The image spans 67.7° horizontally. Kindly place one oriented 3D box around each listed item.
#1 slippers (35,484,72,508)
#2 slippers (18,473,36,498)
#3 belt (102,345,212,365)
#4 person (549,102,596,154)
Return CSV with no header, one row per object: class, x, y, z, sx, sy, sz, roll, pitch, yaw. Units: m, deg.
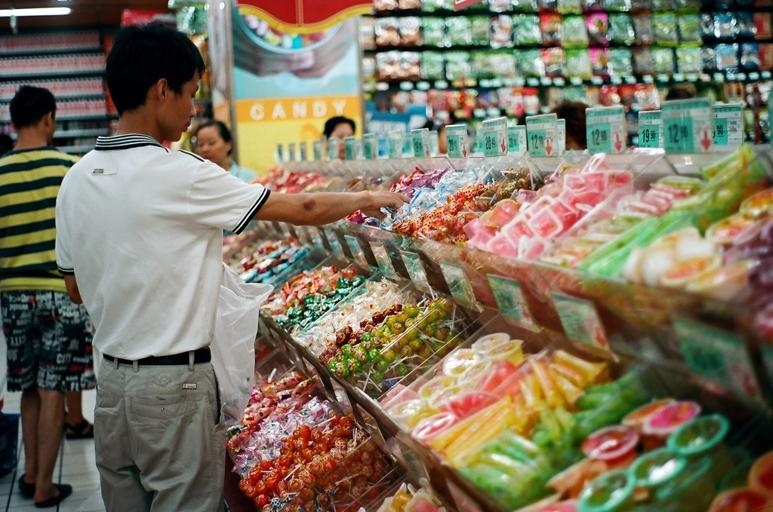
slippers,-1.984,1.432,3.457,0.084,0.055,0.178,5,10,16
slippers,-2.243,1.420,3.621,0.072,0.081,0.205,3,21,-18
belt,-0.788,0.329,2.041,0.220,0.069,0.230,-4,9,-40
person,1.247,-0.890,3.874,0.163,0.419,0.856,-5,4,19
